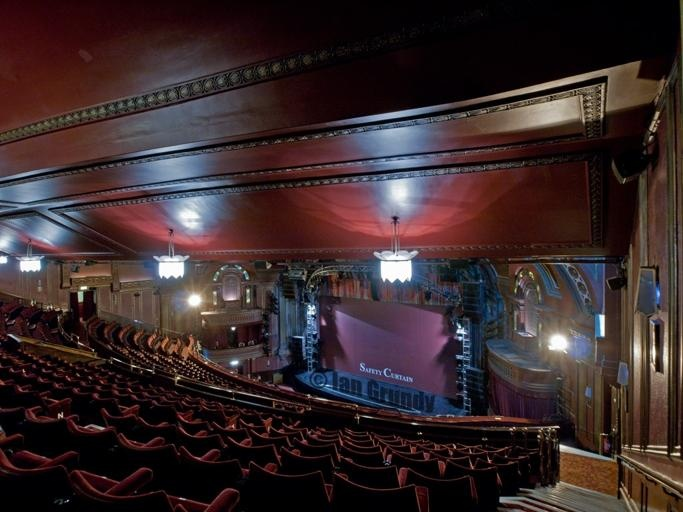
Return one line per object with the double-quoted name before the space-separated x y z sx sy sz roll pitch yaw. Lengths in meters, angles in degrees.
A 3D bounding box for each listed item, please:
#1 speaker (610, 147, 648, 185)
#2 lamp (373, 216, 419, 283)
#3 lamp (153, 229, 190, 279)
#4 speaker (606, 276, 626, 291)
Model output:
"speaker" 3.447 -1.053 5.939 0.320 0.441 0.145 38 -5 41
"lamp" 0.871 -0.076 8.405 0.731 0.935 1.041 -3 -10 16
"lamp" -3.423 -0.096 10.127 0.728 0.967 0.657 -2 -3 3
"speaker" 4.435 0.436 8.036 0.222 0.258 0.386 -4 0 -2
